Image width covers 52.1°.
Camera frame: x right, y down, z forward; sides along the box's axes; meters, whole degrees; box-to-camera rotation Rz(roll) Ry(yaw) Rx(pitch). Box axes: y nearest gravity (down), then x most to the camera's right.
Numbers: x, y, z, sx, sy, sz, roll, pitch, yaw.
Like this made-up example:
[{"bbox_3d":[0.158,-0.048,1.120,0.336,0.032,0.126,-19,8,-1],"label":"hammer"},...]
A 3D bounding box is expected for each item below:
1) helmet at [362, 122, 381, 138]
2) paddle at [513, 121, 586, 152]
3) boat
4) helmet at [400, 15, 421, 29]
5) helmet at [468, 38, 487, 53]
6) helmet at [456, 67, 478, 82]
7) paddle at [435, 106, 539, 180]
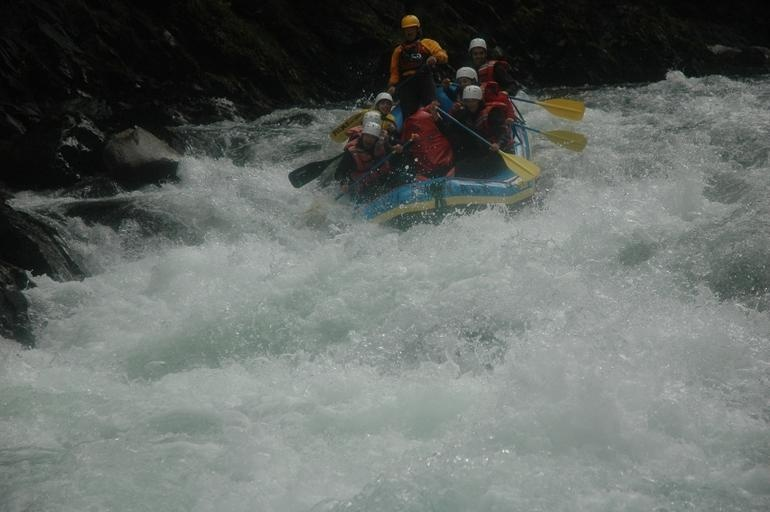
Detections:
[{"bbox_3d":[-0.162,-2.088,13.010,0.222,0.187,0.284,16,14,-18],"label":"helmet"},{"bbox_3d":[2.910,-2.100,13.858,1.430,0.332,0.064,28,25,24],"label":"paddle"},{"bbox_3d":[1.215,-1.423,12.539,2.885,0.679,1.716,-28,43,-14],"label":"boat"},{"bbox_3d":[0.521,-4.225,14.331,0.379,0.236,0.521,-8,13,10],"label":"helmet"},{"bbox_3d":[1.740,-3.932,14.632,0.323,0.449,0.220,-4,79,5],"label":"helmet"},{"bbox_3d":[1.439,-3.164,13.715,0.250,0.262,0.347,5,12,34],"label":"helmet"},{"bbox_3d":[1.662,-1.893,13.300,2.044,0.284,0.172,42,16,23],"label":"paddle"}]
